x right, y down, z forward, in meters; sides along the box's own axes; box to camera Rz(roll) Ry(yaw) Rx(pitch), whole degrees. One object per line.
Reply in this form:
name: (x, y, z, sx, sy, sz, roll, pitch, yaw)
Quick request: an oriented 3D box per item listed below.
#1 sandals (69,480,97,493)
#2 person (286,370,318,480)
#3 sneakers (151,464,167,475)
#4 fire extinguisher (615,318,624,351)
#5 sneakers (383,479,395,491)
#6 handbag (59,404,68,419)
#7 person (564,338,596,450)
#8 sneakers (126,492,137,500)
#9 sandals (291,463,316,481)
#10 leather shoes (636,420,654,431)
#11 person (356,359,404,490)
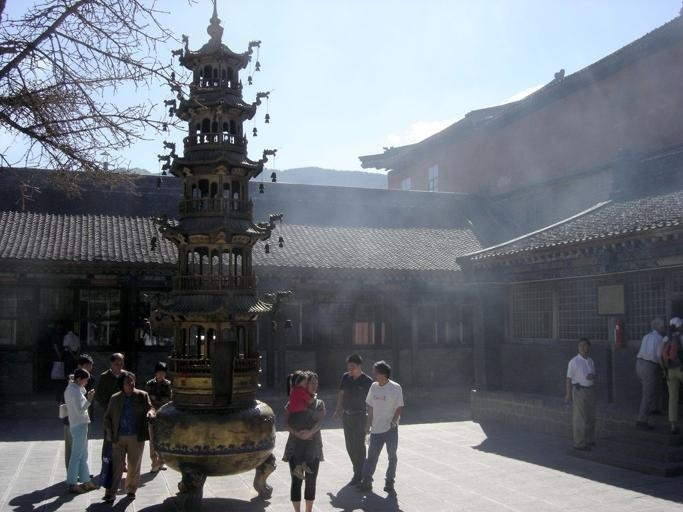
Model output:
sandals: (-4.242, 3.724, 10.983, 0.485, 0.201, 0.153, -4, -3, -7)
person: (-0.610, 2.441, 9.914, 0.485, 1.453, 0.652, 0, -2, -4)
sneakers: (-3.319, 3.782, 12.153, 0.229, 0.110, 0.389, -1, -3, 16)
fire extinguisher: (5.911, 1.624, 14.353, 0.059, 0.639, 0.170, 3, -3, -45)
sneakers: (0.776, 3.735, 11.117, 0.186, 0.203, 0.191, 0, -2, -1)
handbag: (-4.652, 2.551, 11.217, 0.117, 0.274, 0.379, 1, -3, -22)
person: (4.712, 2.678, 13.290, 0.532, 2.155, 0.408, 0, -3, 16)
sneakers: (-3.341, 3.738, 10.645, 0.123, 0.099, 0.189, 1, -3, -13)
sandals: (-0.573, 3.043, 9.588, 0.399, 0.277, 0.146, -2, 0, -8)
leather shoes: (5.870, 3.257, 13.062, 0.217, 0.153, 0.221, -5, -8, 38)
person: (0.652, 2.768, 11.148, 0.654, 2.110, 0.721, 0, -2, 2)
